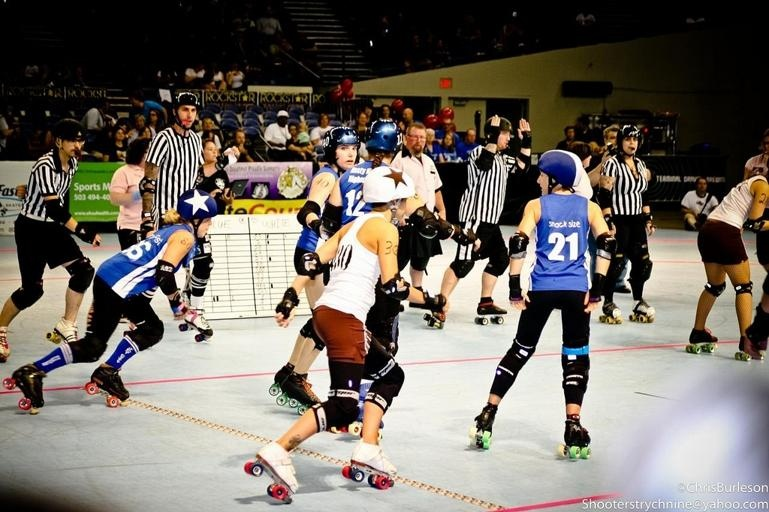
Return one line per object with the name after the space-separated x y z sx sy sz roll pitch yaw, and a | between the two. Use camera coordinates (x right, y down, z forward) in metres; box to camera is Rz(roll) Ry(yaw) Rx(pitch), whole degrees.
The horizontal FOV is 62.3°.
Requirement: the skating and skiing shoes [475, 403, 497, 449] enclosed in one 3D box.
0.775 1.267 4.811 0.214 0.305 0.115 2 1 34 | skating and skiing shoes

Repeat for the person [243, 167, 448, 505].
-0.223 0.449 4.239 0.784 2.076 1.531 4 10 21 | person

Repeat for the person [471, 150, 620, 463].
1.224 0.315 4.835 0.894 2.201 0.886 3 10 19 | person

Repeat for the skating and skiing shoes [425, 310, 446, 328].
0.650 0.793 8.312 0.229 0.162 0.476 -9 10 4 | skating and skiing shoes

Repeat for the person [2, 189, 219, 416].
-2.227 0.368 5.451 1.571 1.854 0.535 -2 10 -12 | person

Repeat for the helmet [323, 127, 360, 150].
-0.410 -1.095 5.970 0.271 0.199 0.220 15 19 42 | helmet

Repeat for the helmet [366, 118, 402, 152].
0.005 -1.053 5.522 0.230 0.262 0.302 14 27 18 | helmet

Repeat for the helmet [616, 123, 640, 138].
3.229 -1.655 8.468 0.230 0.173 0.475 3 9 17 | helmet

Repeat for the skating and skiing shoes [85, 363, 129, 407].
-2.428 1.145 5.602 0.373 0.262 0.175 33 6 -13 | skating and skiing shoes

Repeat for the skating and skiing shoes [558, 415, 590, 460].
1.351 1.311 4.544 0.162 0.256 0.369 -1 -4 28 | skating and skiing shoes

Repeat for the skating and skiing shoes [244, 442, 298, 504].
-0.690 1.348 3.918 0.255 0.415 0.136 -38 12 -5 | skating and skiing shoes

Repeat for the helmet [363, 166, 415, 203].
0.034 -0.460 4.242 0.315 0.225 0.223 5 4 -36 | helmet

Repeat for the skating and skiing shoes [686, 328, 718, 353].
3.516 0.958 7.132 0.515 0.215 0.181 1 -1 -39 | skating and skiing shoes

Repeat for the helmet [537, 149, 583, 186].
1.307 -0.691 4.858 0.329 0.253 0.243 17 19 13 | helmet

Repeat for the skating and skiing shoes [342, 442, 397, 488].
-0.082 1.349 4.117 0.357 0.238 0.193 31 -20 -36 | skating and skiing shoes

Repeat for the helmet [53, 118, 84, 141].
-3.160 -1.243 6.446 0.260 0.222 0.208 -10 -2 29 | helmet

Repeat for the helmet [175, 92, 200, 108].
-2.227 -1.754 7.146 0.247 0.166 0.319 -2 9 -15 | helmet

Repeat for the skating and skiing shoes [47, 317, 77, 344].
-3.604 0.840 7.160 0.416 0.142 0.202 16 51 41 | skating and skiing shoes
